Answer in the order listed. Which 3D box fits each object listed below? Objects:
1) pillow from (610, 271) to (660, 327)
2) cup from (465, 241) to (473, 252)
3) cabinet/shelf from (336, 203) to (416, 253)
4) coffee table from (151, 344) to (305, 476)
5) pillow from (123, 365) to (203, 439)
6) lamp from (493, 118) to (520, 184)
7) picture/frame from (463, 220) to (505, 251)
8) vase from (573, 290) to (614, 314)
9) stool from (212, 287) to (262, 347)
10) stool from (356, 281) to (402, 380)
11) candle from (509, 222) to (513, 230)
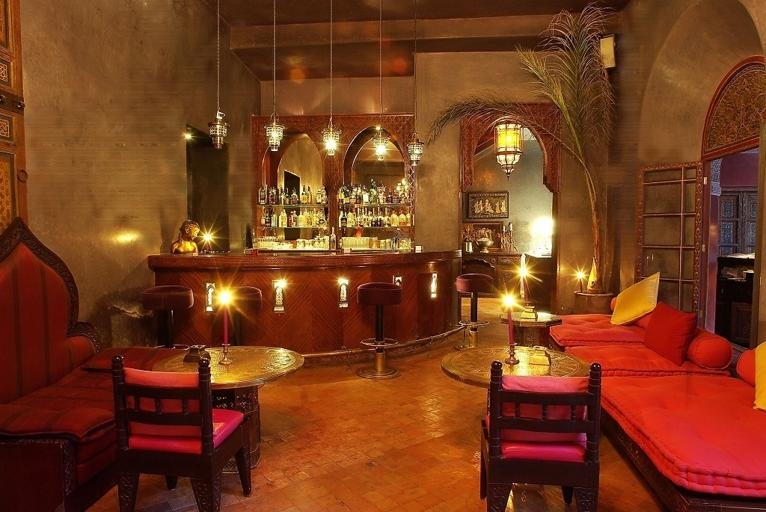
[{"bbox_3d":[3.262,0.539,7.648,0.205,0.643,0.686,28,-23,-6],"label":"pillow"},{"bbox_3d":[2.096,-0.218,14.073,0.246,0.283,0.248,0,5,0],"label":"cup"},{"bbox_3d":[-0.146,-0.488,10.283,1.251,0.783,0.413,0,3,-5],"label":"cabinet/shelf"},{"bbox_3d":[-1.380,1.205,5.759,1.237,0.777,1.256,2,8,11],"label":"coffee table"},{"bbox_3d":[-1.826,1.278,5.307,0.565,0.780,0.618,1,3,0],"label":"pillow"},{"bbox_3d":[2.093,-1.821,9.935,0.428,0.879,0.551,-1,2,10],"label":"lamp"},{"bbox_3d":[2.561,-0.479,14.906,0.876,0.633,0.069,0,-14,11],"label":"picture/frame"},{"bbox_3d":[3.240,0.718,9.197,0.382,0.242,0.388,0,1,9],"label":"vase"},{"bbox_3d":[-1.871,0.782,7.881,0.673,0.883,0.772,1,5,-14],"label":"stool"},{"bbox_3d":[-0.052,0.986,8.125,0.568,1.249,0.687,-1,2,-3],"label":"stool"},{"bbox_3d":[3.299,-0.767,15.286,0.140,0.194,0.060,-3,3,-32],"label":"candle"}]
